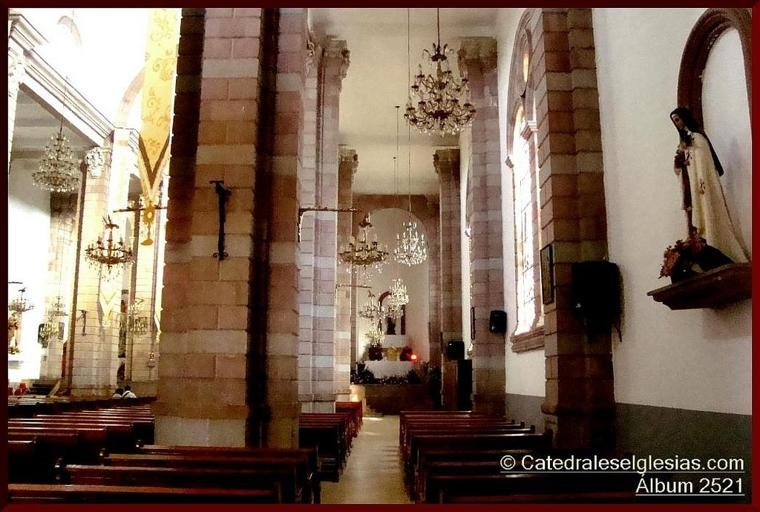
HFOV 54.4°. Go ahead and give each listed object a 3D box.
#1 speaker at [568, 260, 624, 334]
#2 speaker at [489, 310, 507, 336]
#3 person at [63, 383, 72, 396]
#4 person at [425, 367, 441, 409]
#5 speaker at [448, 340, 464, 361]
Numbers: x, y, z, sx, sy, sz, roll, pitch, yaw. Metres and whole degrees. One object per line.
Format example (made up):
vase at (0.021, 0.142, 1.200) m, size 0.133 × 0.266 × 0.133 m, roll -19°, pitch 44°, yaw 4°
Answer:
speaker at (3.389, 0.690, 11.475) m, size 0.760 × 1.147 × 0.442 m, roll -5°, pitch -14°, yaw 17°
speaker at (2.777, 1.586, 17.441) m, size 0.423 × 0.588 × 0.359 m, roll 1°, pitch -13°, yaw -9°
person at (-10.091, 4.308, 23.880) m, size 0.225 × 0.373 × 0.764 m, roll 5°, pitch -14°, yaw -25°
person at (2.083, 4.762, 28.160) m, size 0.463 × 1.381 × 0.520 m, roll 23°, pitch -31°, yaw -32°
speaker at (2.274, 2.958, 23.050) m, size 0.582 × 0.570 × 0.583 m, roll -2°, pitch -5°, yaw 33°
